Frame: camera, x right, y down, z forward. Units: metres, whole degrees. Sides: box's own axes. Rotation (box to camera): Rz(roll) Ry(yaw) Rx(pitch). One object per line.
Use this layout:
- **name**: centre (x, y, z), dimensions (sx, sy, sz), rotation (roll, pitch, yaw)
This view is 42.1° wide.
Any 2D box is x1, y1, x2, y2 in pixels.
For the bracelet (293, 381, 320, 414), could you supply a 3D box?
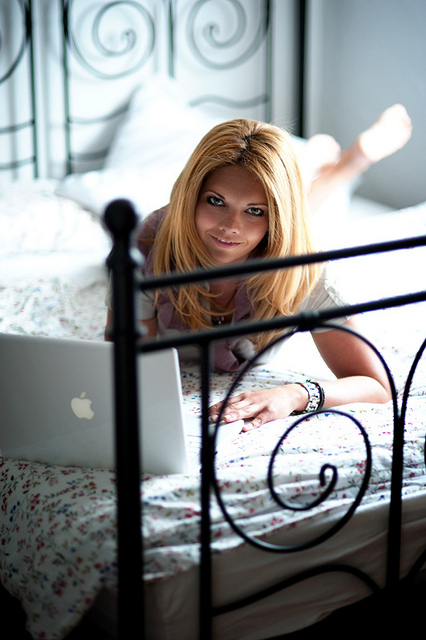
- **bracelet**: centre (0.183, 0.143, 1.010), dimensions (0.053, 0.049, 0.047), rotation (3, -1, 30)

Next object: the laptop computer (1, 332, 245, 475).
- **laptop computer**: centre (-0.128, 0.100, 0.791), dimensions (0.298, 0.172, 0.212), rotation (1, 13, 35)

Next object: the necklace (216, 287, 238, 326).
- **necklace**: centre (0.031, -0.047, 1.355), dimensions (0.031, 0.034, 0.120), rotation (26, 62, 15)

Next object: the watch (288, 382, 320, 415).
- **watch**: centre (0.167, 0.140, 1.018), dimensions (0.022, 0.053, 0.049), rotation (-19, 2, -2)

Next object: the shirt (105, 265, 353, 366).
- **shirt**: centre (0.108, -0.038, 1.223), dimensions (0.512, 0.186, 0.250), rotation (3, 17, -2)
